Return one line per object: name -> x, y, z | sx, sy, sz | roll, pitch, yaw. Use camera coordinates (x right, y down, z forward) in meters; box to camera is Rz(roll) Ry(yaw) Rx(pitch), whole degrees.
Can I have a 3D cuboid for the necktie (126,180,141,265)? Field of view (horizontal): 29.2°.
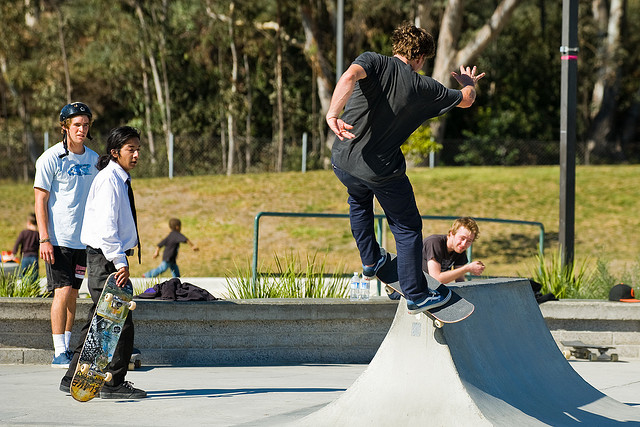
necktie -> -4.702, 0.020, 31.022 | 0.252, 2.539, 0.122 | 0, 4, 37
